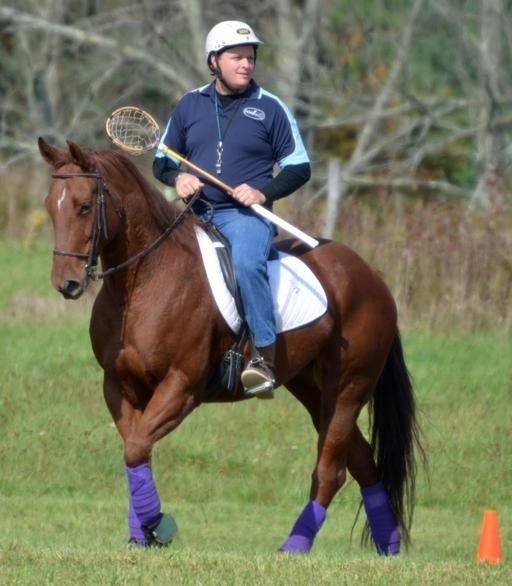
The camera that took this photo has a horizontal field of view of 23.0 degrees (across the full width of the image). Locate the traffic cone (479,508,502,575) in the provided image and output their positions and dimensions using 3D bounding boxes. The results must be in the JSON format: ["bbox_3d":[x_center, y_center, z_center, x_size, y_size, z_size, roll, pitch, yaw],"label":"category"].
[{"bbox_3d":[1.696,1.794,9.210,0.166,0.354,0.285,2,8,11],"label":"traffic cone"}]

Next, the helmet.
[{"bbox_3d":[-0.154,-1.860,9.063,0.319,0.226,0.451,-15,12,-21],"label":"helmet"}]

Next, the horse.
[{"bbox_3d":[-0.050,0.591,9.313,3.701,3.051,0.915,8,-10,-42],"label":"horse"}]

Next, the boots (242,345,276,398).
[{"bbox_3d":[0.032,0.498,8.841,0.157,0.329,0.462,-10,5,14],"label":"boots"}]
